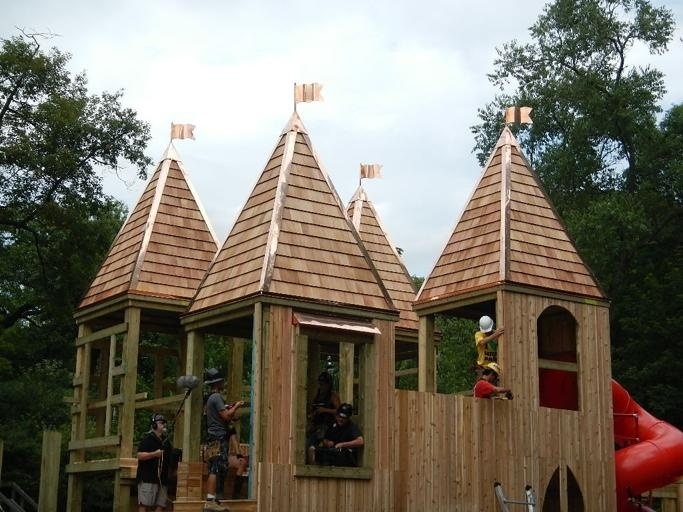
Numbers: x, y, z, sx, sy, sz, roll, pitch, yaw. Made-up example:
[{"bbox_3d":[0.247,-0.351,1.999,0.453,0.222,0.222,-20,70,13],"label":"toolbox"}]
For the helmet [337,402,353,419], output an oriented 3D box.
[{"bbox_3d":[0.035,2.943,18.839,0.281,0.359,0.358,1,-23,-1],"label":"helmet"}]
